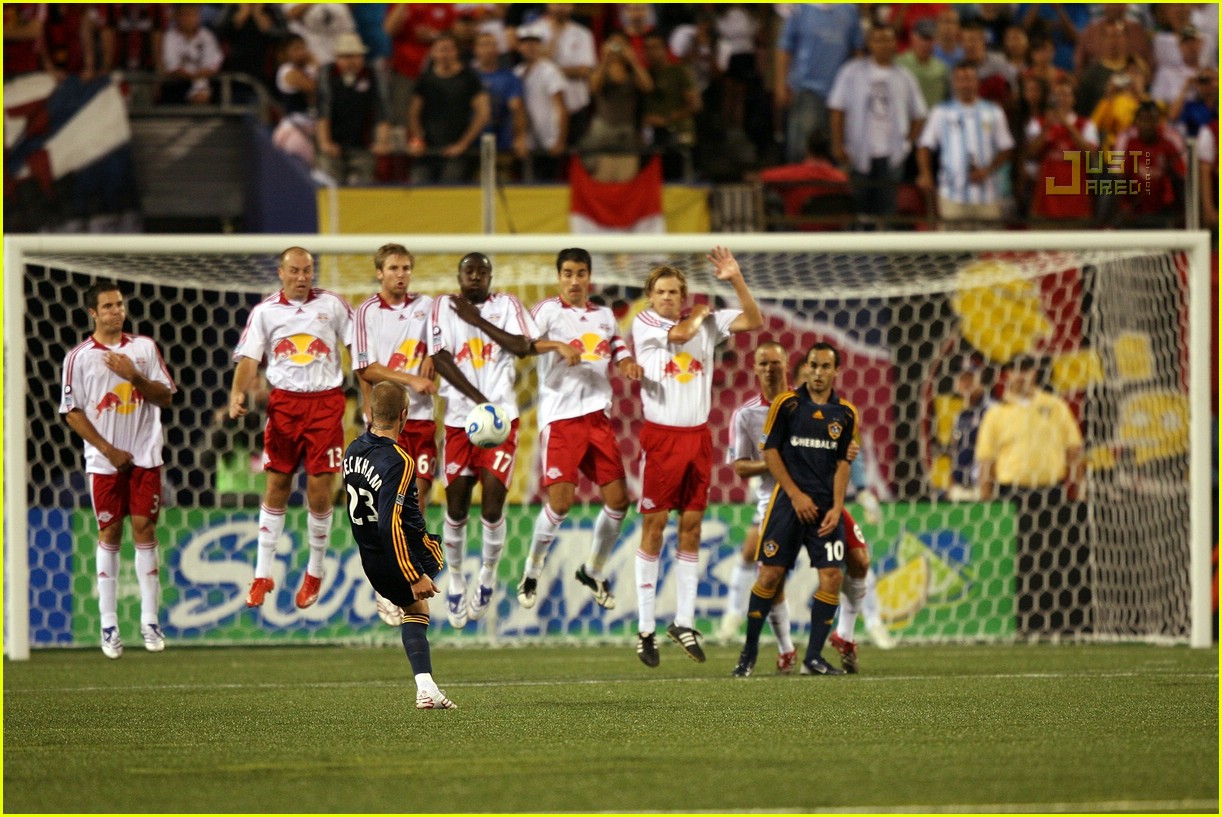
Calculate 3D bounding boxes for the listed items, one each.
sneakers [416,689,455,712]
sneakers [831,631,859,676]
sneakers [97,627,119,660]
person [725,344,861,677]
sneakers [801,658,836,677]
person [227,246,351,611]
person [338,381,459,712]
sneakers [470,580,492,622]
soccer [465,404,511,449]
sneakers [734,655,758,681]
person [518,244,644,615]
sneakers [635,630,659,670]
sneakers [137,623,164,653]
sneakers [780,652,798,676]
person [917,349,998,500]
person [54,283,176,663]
[{"bbox_3d":[-1.246,2.091,15.485,0.120,0.144,0.315,1,4,28],"label":"sneakers"},{"bbox_3d":[1.827,1.927,17.018,0.172,0.405,0.143,-19,-10,18],"label":"sneakers"},{"bbox_3d":[-4.024,1.909,17.501,0.129,0.342,0.150,-9,-13,-27],"label":"sneakers"},{"bbox_3d":[1.431,0.802,16.609,0.869,2.559,0.489,-1,8,6],"label":"person"},{"bbox_3d":[1.586,2.008,16.773,0.290,0.133,0.107,1,45,-5],"label":"sneakers"},{"bbox_3d":[-2.592,0.162,17.446,1.106,2.909,1.060,-5,9,-21],"label":"person"},{"bbox_3d":[-1.528,1.018,15.272,0.698,2.390,0.432,-1,8,2],"label":"person"},{"bbox_3d":[-1.040,1.551,17.508,0.113,0.351,0.145,9,-5,-6],"label":"sneakers"},{"bbox_3d":[-0.922,0.100,16.586,0.327,0.325,0.330,8,-33,13],"label":"soccer"},{"bbox_3d":[1.032,2.007,16.761,0.117,0.074,0.185,8,41,22],"label":"sneakers"},{"bbox_3d":[-0.263,0.188,16.976,0.943,2.869,0.587,-1,8,6],"label":"person"},{"bbox_3d":[0.286,1.873,16.868,0.136,0.266,0.280,-1,8,1],"label":"sneakers"},{"bbox_3d":[-3.665,1.850,17.489,0.176,0.247,0.352,1,-17,-6],"label":"sneakers"},{"bbox_3d":[1.363,1.987,16.923,0.158,0.155,0.124,-8,-1,42],"label":"sneakers"},{"bbox_3d":[2.991,0.121,19.135,0.272,1.190,0.843,14,-2,-36],"label":"person"},{"bbox_3d":[-3.886,0.543,17.330,0.861,3.067,0.519,-3,8,-12],"label":"person"}]
